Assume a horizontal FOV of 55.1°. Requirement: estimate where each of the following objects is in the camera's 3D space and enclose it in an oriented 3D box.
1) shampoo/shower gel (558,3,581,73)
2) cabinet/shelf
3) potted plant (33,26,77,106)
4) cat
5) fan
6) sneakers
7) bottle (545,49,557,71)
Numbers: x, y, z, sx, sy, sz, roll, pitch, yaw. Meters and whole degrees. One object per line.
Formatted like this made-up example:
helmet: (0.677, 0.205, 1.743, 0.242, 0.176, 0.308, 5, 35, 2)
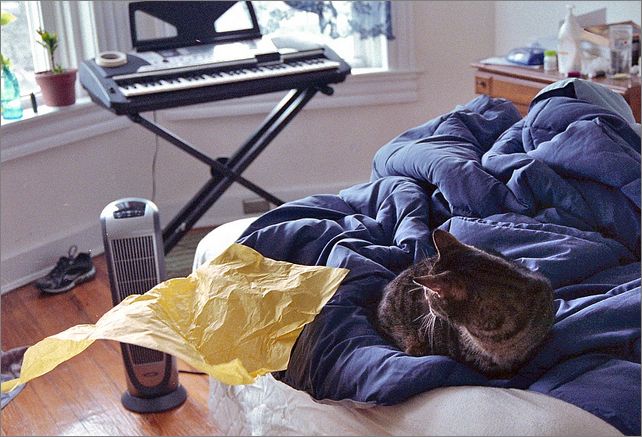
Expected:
shampoo/shower gel: (1.169, -0.829, 2.862, 0.105, 0.303, 0.143, 4, 21, 16)
cabinet/shelf: (1.120, -0.628, 2.983, 0.224, 0.215, 0.876, -16, 24, -34)
potted plant: (-1.404, -0.784, 3.210, 0.247, 0.379, 0.259, -4, 22, -4)
cat: (0.371, 0.193, 1.594, 0.412, 0.331, 0.299, 2, 47, 35)
fan: (-0.653, 0.336, 2.223, 0.247, 0.806, 0.175, -8, 21, -18)
sneakers: (-1.300, 0.265, 3.121, 0.142, 0.166, 0.296, 15, 26, 39)
bottle: (1.110, -0.758, 2.956, 0.080, 0.104, 0.085, -2, 19, 1)
